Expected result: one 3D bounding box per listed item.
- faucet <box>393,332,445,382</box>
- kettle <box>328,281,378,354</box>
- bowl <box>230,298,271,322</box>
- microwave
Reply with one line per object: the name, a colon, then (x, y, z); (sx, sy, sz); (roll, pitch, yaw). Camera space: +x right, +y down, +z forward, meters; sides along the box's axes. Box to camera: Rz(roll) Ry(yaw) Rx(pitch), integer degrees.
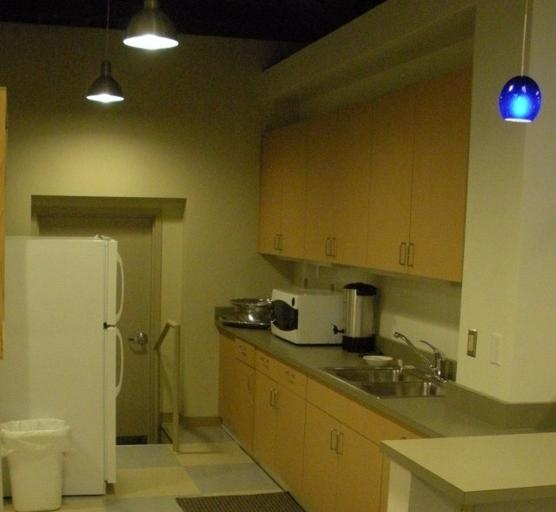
faucet: (0.799, 0.542, 3.175); (0.137, 0.253, 0.355); (-11, 17, -39)
kettle: (0.483, 0.406, 3.779); (0.337, 0.648, 0.337); (1, 1, 9)
bowl: (-0.229, 0.457, 4.812); (0.333, 0.164, 0.447); (2, 0, -4)
microwave: (0.218, 0.425, 4.015); (0.313, 0.304, 0.472); (1, 0, -10)
